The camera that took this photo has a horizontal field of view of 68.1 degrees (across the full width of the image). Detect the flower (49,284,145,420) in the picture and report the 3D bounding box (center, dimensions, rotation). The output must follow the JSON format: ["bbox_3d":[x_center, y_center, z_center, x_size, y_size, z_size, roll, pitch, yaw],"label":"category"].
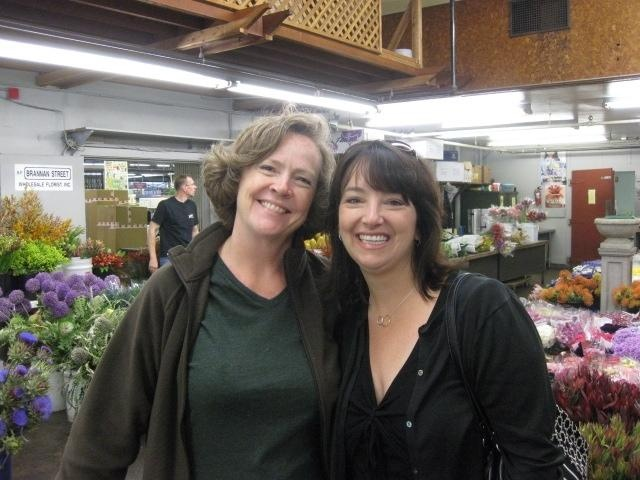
[{"bbox_3d":[-1.158,0.533,3.014,0.773,0.763,0.792,-4,1,-15],"label":"flower"}]

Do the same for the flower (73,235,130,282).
[{"bbox_3d":[-2.912,0.258,6.514,0.806,0.563,0.817,3,-3,7],"label":"flower"}]

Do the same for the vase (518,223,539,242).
[{"bbox_3d":[4.424,-0.172,10.080,0.355,0.347,0.263,-6,-9,43],"label":"vase"}]

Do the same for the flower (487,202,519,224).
[{"bbox_3d":[3.517,-0.522,9.160,0.447,0.299,0.378,2,-6,-14],"label":"flower"}]

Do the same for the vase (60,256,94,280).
[{"bbox_3d":[-2.153,0.241,4.183,0.194,0.208,0.197,1,3,11],"label":"vase"}]

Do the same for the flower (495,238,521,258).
[{"bbox_3d":[3.086,0.107,7.845,0.447,0.323,0.492,-2,-7,28],"label":"flower"}]

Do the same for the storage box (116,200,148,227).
[{"bbox_3d":[-3.193,-0.435,8.045,0.386,0.280,0.391,-1,2,-28],"label":"storage box"}]
